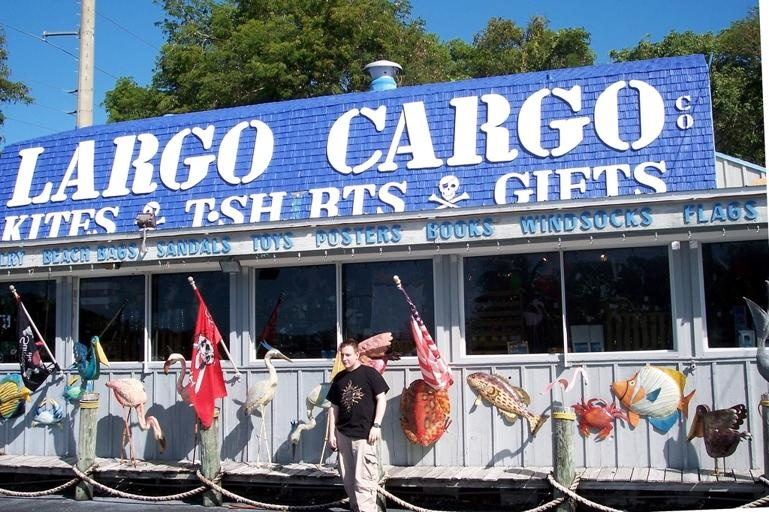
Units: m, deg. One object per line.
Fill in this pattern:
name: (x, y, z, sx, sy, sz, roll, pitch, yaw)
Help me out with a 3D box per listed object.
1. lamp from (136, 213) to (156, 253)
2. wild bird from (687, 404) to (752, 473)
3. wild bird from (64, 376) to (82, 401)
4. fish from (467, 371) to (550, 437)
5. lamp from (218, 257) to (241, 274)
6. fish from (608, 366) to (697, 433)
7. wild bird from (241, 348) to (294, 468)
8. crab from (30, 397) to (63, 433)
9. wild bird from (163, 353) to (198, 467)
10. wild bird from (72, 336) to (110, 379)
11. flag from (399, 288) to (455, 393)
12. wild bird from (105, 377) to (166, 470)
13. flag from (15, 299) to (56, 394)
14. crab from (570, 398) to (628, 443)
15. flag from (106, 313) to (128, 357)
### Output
lamp: (-4.464, -0.433, 21.622, 0.334, 0.916, 0.622, 2, -10, -12)
wild bird: (5.696, 3.138, 19.687, 0.798, 1.160, 0.830, -8, -6, -14)
wild bird: (-5.956, 2.555, 22.162, 0.526, 0.510, 0.165, -6, -12, 34)
fish: (2.170, 2.629, 20.417, 1.339, 1.063, 0.206, 0, -10, 0)
lamp: (-2.862, 0.187, 21.552, 0.416, 0.238, 0.601, 1, -10, -6)
fish: (4.671, 2.505, 19.992, 1.280, 1.128, 0.151, -2, -10, 13)
wild bird: (-2.204, 2.774, 21.148, 0.687, 2.042, 0.920, 8, -13, -40)
crab: (-6.490, 3.126, 22.294, 0.674, 0.649, 0.133, -1, -16, 8)
wild bird: (-3.748, 2.850, 21.294, 0.655, 2.063, 0.593, -2, -3, -11)
wild bird: (-5.558, 1.993, 22.060, 0.531, 0.797, 0.861, 8, -12, -37)
flag: (0.682, 1.364, 20.283, 0.824, 1.913, 0.835, -10, -23, 24)
wild bird: (-4.665, 3.111, 21.690, 1.097, 1.646, 0.795, 2, -10, -12)
flag: (-6.718, 1.808, 22.345, 0.808, 1.651, 0.538, 5, -11, -25)
crab: (3.766, 2.862, 20.209, 1.011, 0.714, 0.359, 10, 4, -8)
flag: (-5.179, 1.609, 22.413, 0.532, 0.775, 0.176, -1, -8, 13)
